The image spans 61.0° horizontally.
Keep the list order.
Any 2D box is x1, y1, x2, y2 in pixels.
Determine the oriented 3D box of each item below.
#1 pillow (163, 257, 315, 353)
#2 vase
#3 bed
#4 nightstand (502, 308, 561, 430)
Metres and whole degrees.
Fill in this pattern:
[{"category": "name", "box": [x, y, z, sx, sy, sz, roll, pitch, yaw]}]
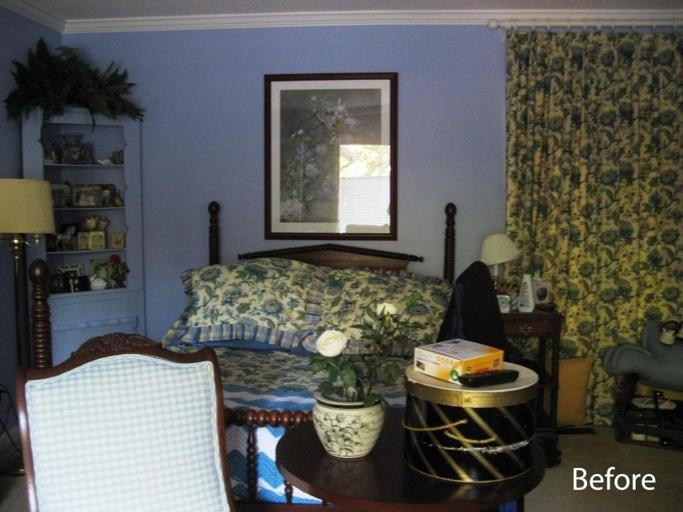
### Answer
[{"category": "pillow", "box": [-0.566, 0.299, 3.662, 0.901, 0.407, 0.490, 1, 15, 4]}, {"category": "vase", "box": [0.034, 0.665, 2.287, 0.290, 0.210, 0.291, 2, -6, -26]}, {"category": "bed", "box": [-0.196, 0.484, 3.513, 1.633, 1.362, 1.637, 0, 5, 1]}, {"category": "nightstand", "box": [1.220, 0.794, 3.933, 0.531, 0.712, 0.495, -5, -16, 22]}]
